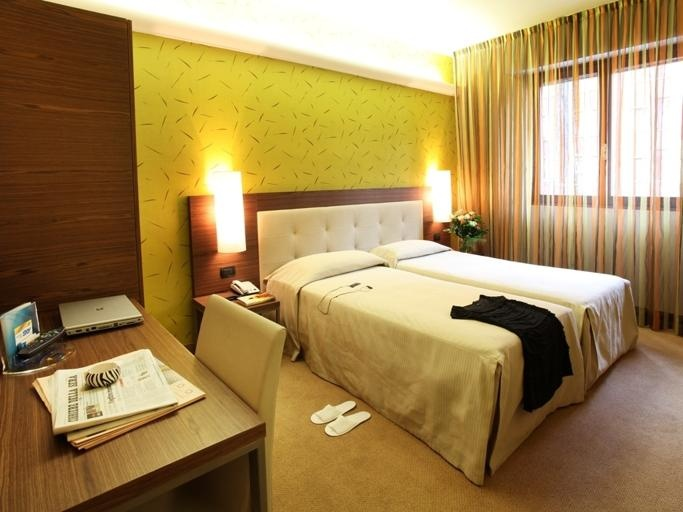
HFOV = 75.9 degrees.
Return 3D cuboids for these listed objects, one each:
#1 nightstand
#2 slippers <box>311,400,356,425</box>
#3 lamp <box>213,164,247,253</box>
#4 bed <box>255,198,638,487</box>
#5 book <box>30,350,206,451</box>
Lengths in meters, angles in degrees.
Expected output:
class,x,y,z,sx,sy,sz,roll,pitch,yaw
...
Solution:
class,x,y,z,sx,sy,sz,roll,pitch,yaw
nightstand,-0.810,0.359,3.366,0.394,0.322,0.360,-6,11,-37
slippers,-0.057,1.012,2.865,0.107,0.063,0.280,1,3,42
lamp,-0.893,-0.339,3.384,0.222,0.609,0.173,-4,11,-10
bed,0.841,0.263,3.658,2.317,1.404,2.275,-10,12,-38
book,-0.707,0.516,1.513,0.306,0.018,0.331,-2,16,-38
